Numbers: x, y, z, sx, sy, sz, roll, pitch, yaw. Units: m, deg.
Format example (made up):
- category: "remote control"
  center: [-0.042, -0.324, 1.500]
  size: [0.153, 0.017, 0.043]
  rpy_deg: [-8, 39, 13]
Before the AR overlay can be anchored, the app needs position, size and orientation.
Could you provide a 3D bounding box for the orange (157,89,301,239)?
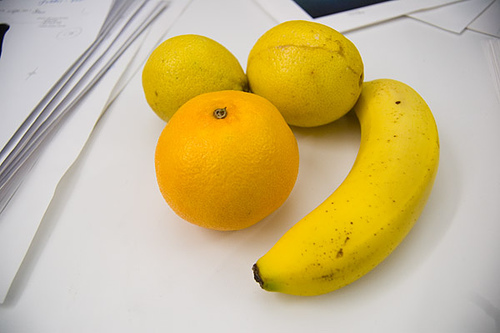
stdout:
- category: "orange"
  center: [-0.056, -0.021, 0.856]
  size: [0.339, 0.293, 0.329]
  rpy_deg: [0, 1, -36]
